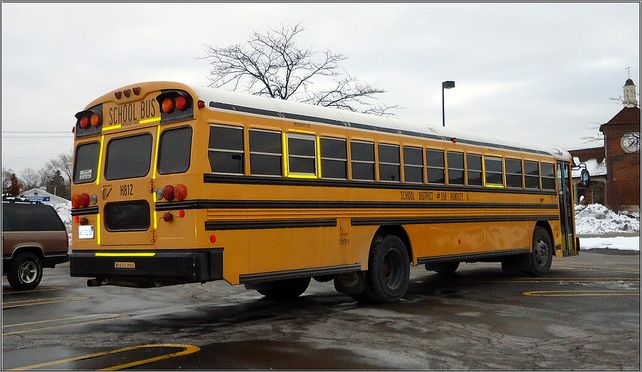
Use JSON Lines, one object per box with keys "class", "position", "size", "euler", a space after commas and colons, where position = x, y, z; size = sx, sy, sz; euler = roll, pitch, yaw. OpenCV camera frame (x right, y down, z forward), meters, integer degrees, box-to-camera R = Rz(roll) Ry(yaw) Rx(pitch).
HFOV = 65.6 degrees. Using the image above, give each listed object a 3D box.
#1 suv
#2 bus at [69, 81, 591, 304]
{"class": "suv", "position": [-9.176, 1.814, 15.659], "size": [0.774, 2.856, 1.831], "euler": [-1, -1, 37]}
{"class": "bus", "position": [1.838, 0.475, 14.211], "size": [14.317, 3.467, 5.014], "euler": [0, -2, -41]}
